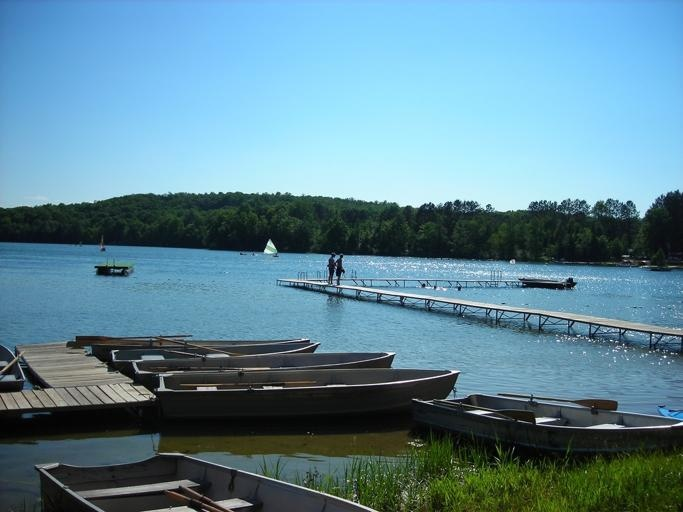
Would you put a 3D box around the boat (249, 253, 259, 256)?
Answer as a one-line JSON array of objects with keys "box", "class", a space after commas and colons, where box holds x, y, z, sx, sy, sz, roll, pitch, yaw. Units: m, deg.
[{"box": [-16.774, -0.289, 123.724, 0.858, 0.631, 1.651, 3, 5, 9], "class": "boat"}]
